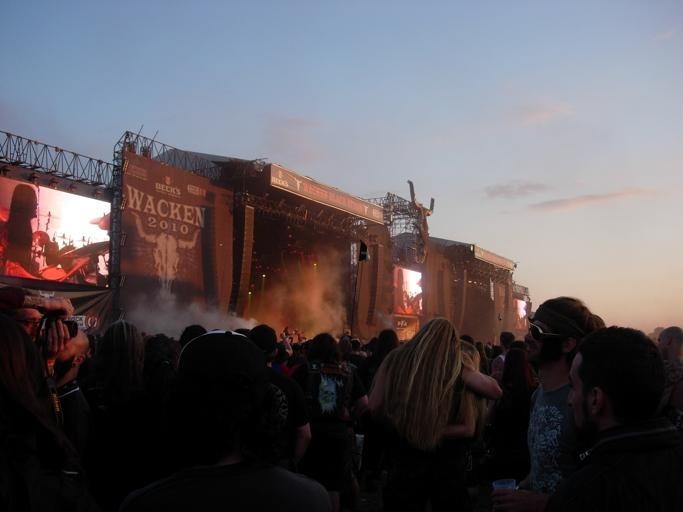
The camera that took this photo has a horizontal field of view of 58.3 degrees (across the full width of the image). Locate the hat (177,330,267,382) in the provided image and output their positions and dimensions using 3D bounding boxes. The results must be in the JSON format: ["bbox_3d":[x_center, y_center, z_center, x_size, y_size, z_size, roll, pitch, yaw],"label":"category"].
[{"bbox_3d":[-0.532,0.397,2.681,0.287,0.216,0.261,-4,4,5],"label":"hat"}]

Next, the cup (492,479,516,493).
[{"bbox_3d":[0.938,1.329,3.545,0.103,0.083,0.111,1,-8,0],"label":"cup"}]
